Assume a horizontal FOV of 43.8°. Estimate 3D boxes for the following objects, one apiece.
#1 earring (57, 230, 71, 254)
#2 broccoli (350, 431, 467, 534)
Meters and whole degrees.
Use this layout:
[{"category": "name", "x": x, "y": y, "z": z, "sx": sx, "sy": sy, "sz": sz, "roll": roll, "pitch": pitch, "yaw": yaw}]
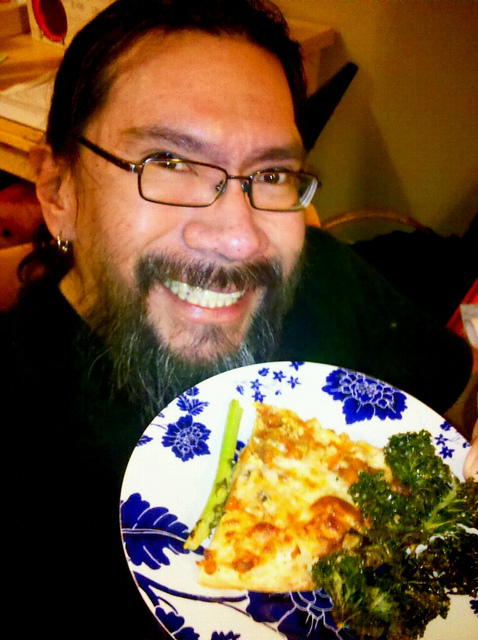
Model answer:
[{"category": "earring", "x": -0.691, "y": -0.296, "z": 2.344, "sx": 0.075, "sy": 0.100, "sz": 0.057, "roll": 0, "pitch": -8, "yaw": -13}, {"category": "broccoli", "x": 0.525, "y": 0.518, "z": 1.826, "sx": 0.283, "sy": 0.114, "sz": 0.279, "roll": -18, "pitch": 65, "yaw": 6}]
